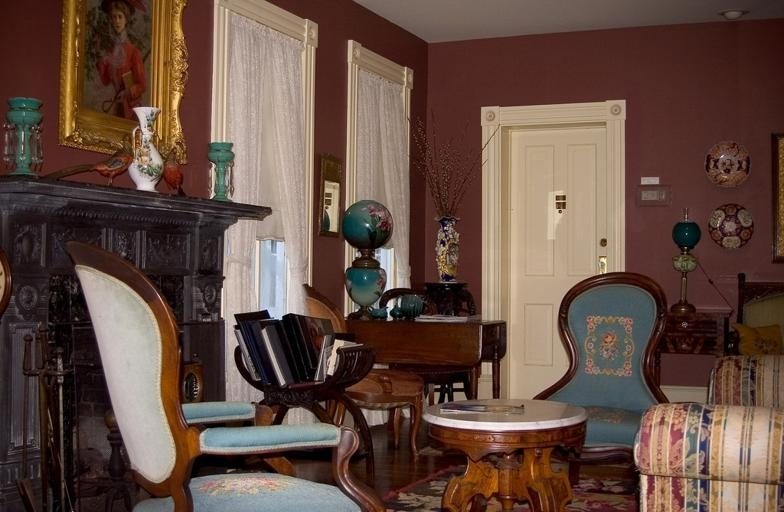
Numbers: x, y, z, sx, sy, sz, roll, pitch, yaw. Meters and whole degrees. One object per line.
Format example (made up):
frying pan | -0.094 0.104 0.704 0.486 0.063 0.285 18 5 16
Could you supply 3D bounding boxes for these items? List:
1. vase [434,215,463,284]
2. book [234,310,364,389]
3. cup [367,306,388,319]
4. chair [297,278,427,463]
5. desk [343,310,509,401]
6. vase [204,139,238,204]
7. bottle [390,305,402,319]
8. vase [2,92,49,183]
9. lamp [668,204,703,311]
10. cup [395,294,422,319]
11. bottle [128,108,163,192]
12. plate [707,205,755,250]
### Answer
vase | 0.470 -0.066 5.901 0.174 0.456 0.244 1 -1 2
book | -0.574 0.507 3.790 0.514 0.270 0.417 1 -1 13
cup | -0.120 0.444 5.348 0.129 0.068 0.080 1 -4 36
chair | -0.304 0.908 5.691 1.140 1.634 1.135 -1 -2 6
desk | 0.296 0.683 5.266 0.931 0.657 0.677 -1 -2 20
vase | -1.153 -0.563 4.598 0.162 0.395 0.276 1 -1 -15
bottle | 0.025 0.437 5.305 0.085 0.127 0.090 7 -6 1
vase | -1.944 -0.630 3.613 0.175 0.467 0.470 2 -1 -30
lamp | 2.852 0.048 6.668 0.273 0.664 0.660 1 -1 24
cup | 0.126 0.394 5.273 0.187 0.146 0.162 -4 -3 3
bottle | -1.463 -0.641 4.120 0.204 0.531 0.363 2 -1 -32
plate | 3.363 -0.284 6.835 0.396 0.449 0.078 1 0 4
